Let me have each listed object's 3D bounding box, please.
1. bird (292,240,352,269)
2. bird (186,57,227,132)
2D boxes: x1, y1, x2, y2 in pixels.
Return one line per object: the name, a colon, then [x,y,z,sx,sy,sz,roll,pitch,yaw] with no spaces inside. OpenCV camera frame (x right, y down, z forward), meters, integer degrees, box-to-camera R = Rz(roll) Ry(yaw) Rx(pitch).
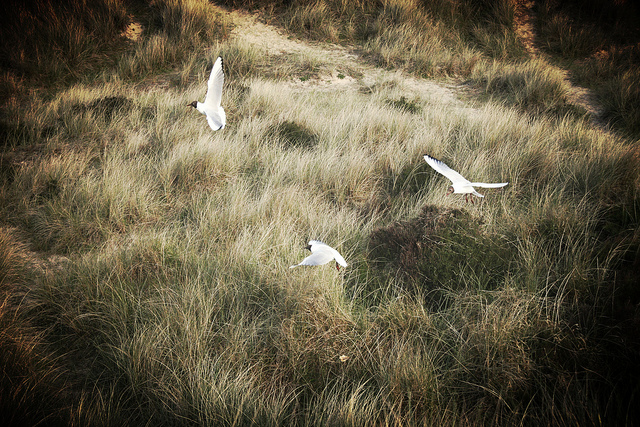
bird: [0.024,0.428,8.184,0.169,0.259,0.433,60,26,-3]
bird: [-1.255,-1.309,8.826,0.364,0.829,0.512,-1,46,-12]
